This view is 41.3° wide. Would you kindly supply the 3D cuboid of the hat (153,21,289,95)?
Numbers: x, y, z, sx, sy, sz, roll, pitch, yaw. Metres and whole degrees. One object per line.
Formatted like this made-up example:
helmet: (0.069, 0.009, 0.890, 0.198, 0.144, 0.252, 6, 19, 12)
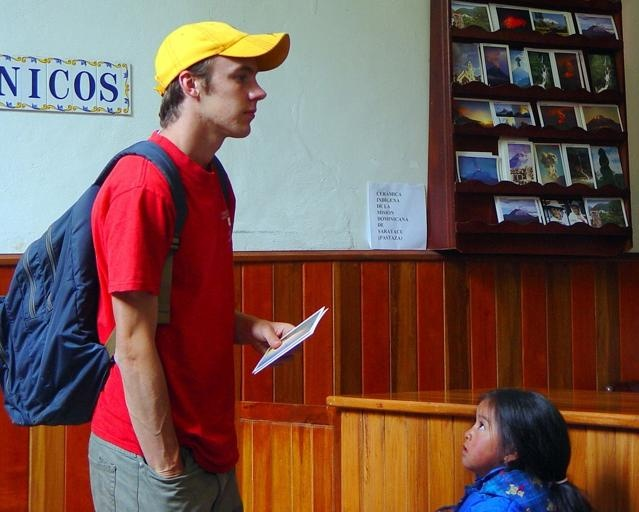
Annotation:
hat: (-0.305, -0.649, 2.648, 0.342, 0.200, 0.245, -27, 6, 8)
